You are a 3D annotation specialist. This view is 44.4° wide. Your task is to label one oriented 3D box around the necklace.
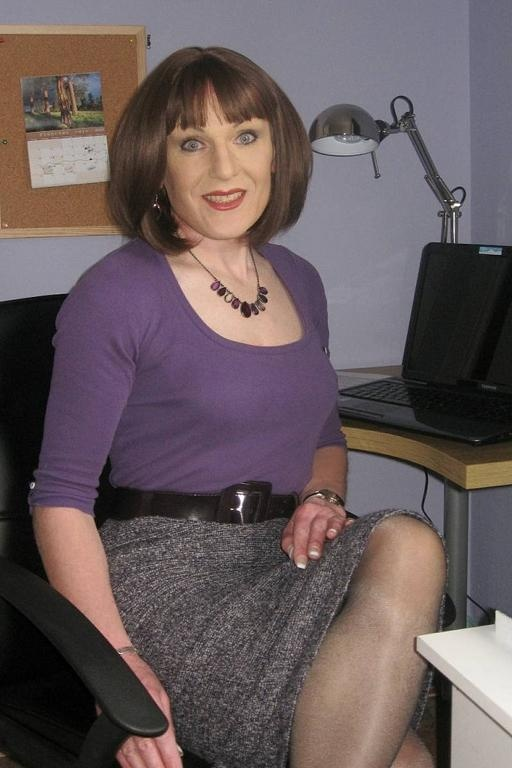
[{"bbox_3d":[-0.057,-0.166,1.004,0.031,0.109,0.127,-28,-11,24],"label":"necklace"}]
